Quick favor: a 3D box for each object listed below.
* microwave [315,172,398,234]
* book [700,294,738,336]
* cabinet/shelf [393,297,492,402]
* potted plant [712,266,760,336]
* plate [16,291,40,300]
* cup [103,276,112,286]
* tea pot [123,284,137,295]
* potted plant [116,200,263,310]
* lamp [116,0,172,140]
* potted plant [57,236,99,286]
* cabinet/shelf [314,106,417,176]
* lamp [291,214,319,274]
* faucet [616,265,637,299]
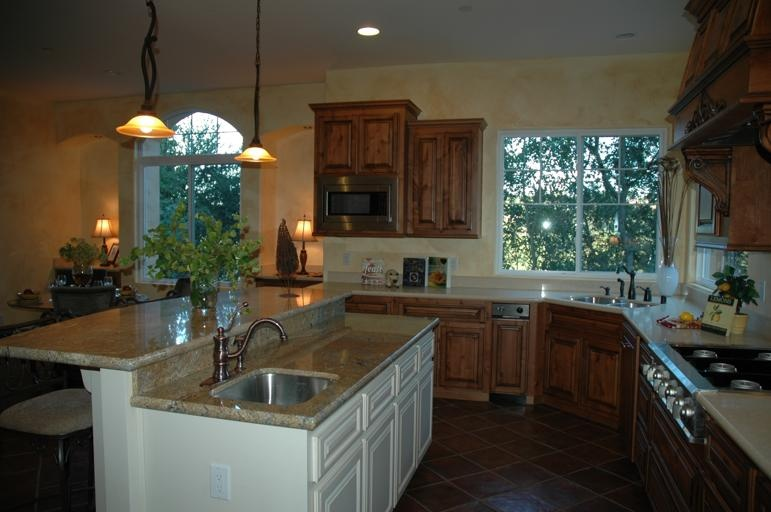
[{"bbox_3d":[-0.330,-0.566,6.321,1.033,0.668,0.610,1,0,8],"label":"microwave"},{"bbox_3d":[2.521,0.457,4.399,0.043,0.289,0.263,18,-15,-6],"label":"book"},{"bbox_3d":[0.581,0.877,5.434,1.099,1.025,0.556,0,-3,13],"label":"cabinet/shelf"},{"bbox_3d":[2.721,0.298,4.541,0.320,0.495,0.545,8,12,32],"label":"potted plant"},{"bbox_3d":[-3.894,0.428,6.443,0.194,0.061,0.191,2,1,11],"label":"plate"},{"bbox_3d":[-3.292,0.294,6.906,0.099,0.092,0.097,1,7,0],"label":"cup"},{"bbox_3d":[-3.371,0.449,7.694,0.099,0.109,0.112,3,-21,2],"label":"tea pot"},{"bbox_3d":[-2.007,-0.009,5.923,1.421,1.145,1.422,2,3,35],"label":"potted plant"},{"bbox_3d":[-2.329,-1.752,5.592,0.407,1.229,3.269,-3,11,-21],"label":"lamp"},{"bbox_3d":[-3.361,0.069,6.415,0.347,0.516,0.501,-6,13,-35],"label":"potted plant"},{"bbox_3d":[-0.198,-1.255,6.596,1.405,0.969,0.724,1,1,13],"label":"cabinet/shelf"},{"bbox_3d":[-1.136,-0.159,8.238,0.308,0.789,0.605,-1,11,-11],"label":"lamp"},{"bbox_3d":[2.491,0.257,6.044,0.193,0.304,0.629,5,11,21],"label":"faucet"}]
